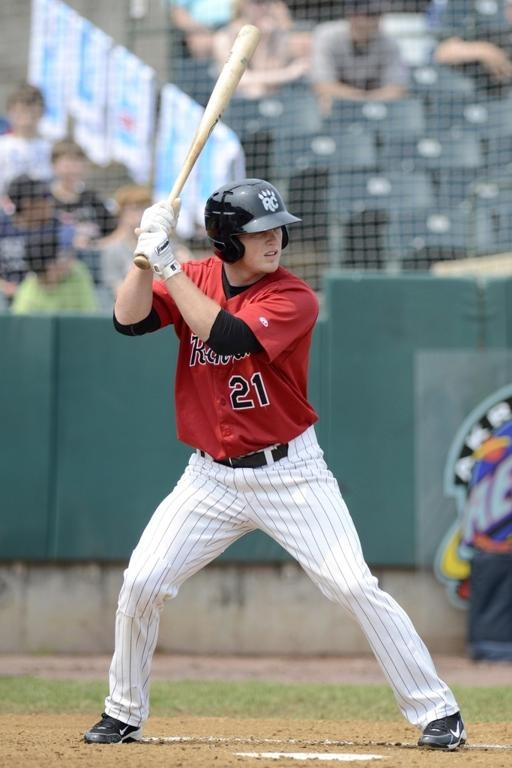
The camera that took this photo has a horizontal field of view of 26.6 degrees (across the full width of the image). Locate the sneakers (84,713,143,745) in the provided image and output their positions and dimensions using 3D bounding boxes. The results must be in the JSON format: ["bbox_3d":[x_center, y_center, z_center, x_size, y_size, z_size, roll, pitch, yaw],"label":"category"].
[{"bbox_3d":[-0.408,0.979,3.046,0.187,0.077,0.064,5,-12,-14],"label":"sneakers"}]

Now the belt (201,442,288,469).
[{"bbox_3d":[-0.036,0.204,3.079,0.255,0.069,0.084,1,2,4],"label":"belt"}]

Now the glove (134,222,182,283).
[{"bbox_3d":[-0.271,-0.357,3.021,0.106,0.160,0.061,-21,-31,-3],"label":"glove"}]

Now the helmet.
[{"bbox_3d":[-0.001,-0.472,3.119,0.295,0.211,0.211,0,6,36],"label":"helmet"}]

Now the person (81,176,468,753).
[{"bbox_3d":[0.037,0.216,3.087,0.984,1.628,0.396,1,3,9],"label":"person"}]

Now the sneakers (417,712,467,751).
[{"bbox_3d":[0.522,0.970,3.046,0.063,0.071,0.181,-1,-8,30],"label":"sneakers"}]
